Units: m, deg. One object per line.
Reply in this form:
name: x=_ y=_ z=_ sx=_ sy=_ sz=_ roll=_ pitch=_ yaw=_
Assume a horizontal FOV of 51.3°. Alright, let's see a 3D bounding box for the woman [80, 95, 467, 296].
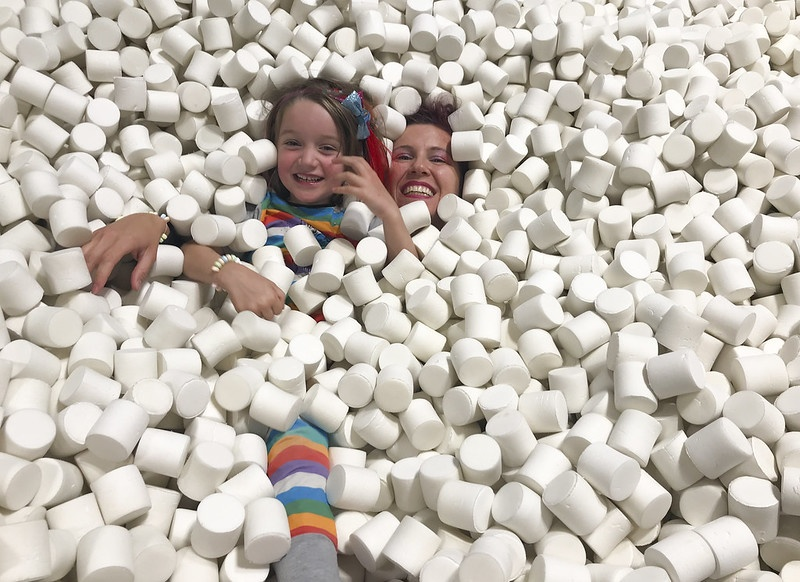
woman: x=-0.397 y=-0.379 z=4.173 sx=1.166 sy=0.351 sz=1.269 roll=21 pitch=48 yaw=4
